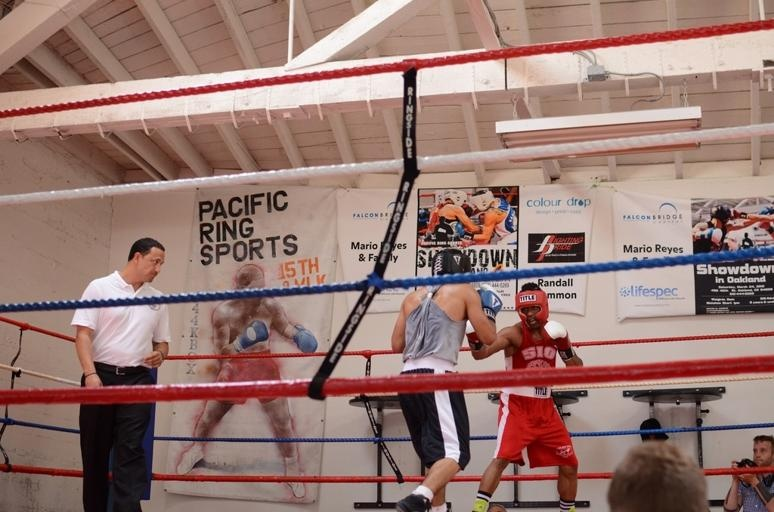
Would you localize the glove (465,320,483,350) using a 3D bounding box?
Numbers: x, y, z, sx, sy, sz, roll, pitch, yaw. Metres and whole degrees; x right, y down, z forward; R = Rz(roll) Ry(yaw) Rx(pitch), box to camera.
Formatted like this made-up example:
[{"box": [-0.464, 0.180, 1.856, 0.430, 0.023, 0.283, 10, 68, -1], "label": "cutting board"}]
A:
[{"box": [0.570, 0.517, 5.555, 0.150, 0.166, 0.064, -20, -18, 8], "label": "glove"}]

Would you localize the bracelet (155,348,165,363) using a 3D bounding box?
[{"box": [-1.536, 0.672, 5.765, 0.072, 0.065, 0.073, 1, -25, -7], "label": "bracelet"}]

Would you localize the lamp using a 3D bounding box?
[{"box": [1.646, -1.011, 6.615, 1.524, 0.199, 0.334, -1, -12, 12], "label": "lamp"}]

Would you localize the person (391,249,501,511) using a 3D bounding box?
[{"box": [0.378, 0.762, 5.395, 0.632, 1.683, 0.552, 1, -12, 3], "label": "person"}]

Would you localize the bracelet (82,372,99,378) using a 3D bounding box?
[{"box": [-1.916, 0.755, 5.414, 0.117, 0.036, 0.065, -2, -12, 13], "label": "bracelet"}]

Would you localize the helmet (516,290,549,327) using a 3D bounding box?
[{"box": [1.036, 0.356, 5.935, 0.220, 0.218, 0.265, -2, -3, 17], "label": "helmet"}]

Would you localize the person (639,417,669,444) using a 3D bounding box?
[{"box": [2.240, 1.421, 7.047, 0.257, 0.199, 1.670, -2, -12, 17], "label": "person"}]

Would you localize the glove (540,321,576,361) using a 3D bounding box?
[{"box": [1.251, 0.602, 6.082, 0.118, 0.286, 0.214, -35, 37, -20], "label": "glove"}]
